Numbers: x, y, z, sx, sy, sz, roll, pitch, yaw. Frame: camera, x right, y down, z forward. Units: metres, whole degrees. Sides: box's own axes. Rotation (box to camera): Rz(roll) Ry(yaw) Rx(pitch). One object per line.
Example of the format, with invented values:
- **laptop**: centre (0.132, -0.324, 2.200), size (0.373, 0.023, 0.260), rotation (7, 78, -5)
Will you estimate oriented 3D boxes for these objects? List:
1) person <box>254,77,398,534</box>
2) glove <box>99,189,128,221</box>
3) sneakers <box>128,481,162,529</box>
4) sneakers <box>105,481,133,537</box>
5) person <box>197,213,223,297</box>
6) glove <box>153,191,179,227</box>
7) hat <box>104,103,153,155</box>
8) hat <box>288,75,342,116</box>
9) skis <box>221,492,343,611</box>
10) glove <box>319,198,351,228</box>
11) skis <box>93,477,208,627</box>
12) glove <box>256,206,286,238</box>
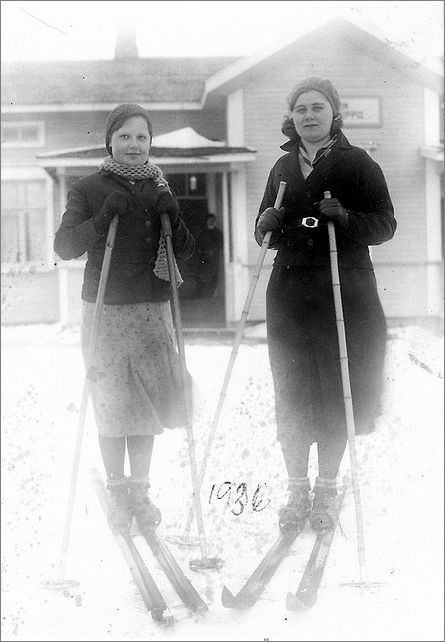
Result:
- **person**: centre (0.369, -0.063, 3.688), size (0.549, 1.705, 0.379), rotation (3, 4, 6)
- **glove**: centre (-0.395, -0.424, 3.506), size (0.046, 0.089, 0.118), rotation (18, 48, 40)
- **sneakers**: centre (-0.310, 0.712, 3.672), size (0.080, 0.233, 0.162), rotation (3, 50, -11)
- **sneakers**: centre (-0.391, 0.712, 3.655), size (0.078, 0.226, 0.154), rotation (-5, 34, -2)
- **person**: centre (-0.174, -0.842, 12.322), size (0.301, 1.119, 0.595), rotation (2, 4, -1)
- **glove**: centre (-0.216, -0.416, 3.621), size (0.069, 0.125, 0.054), rotation (-20, -15, 2)
- **hat**: centre (-0.351, -0.732, 3.617), size (0.128, 0.166, 0.166), rotation (-1, 33, -6)
- **hat**: centre (0.359, -0.868, 3.635), size (0.145, 0.160, 0.070), rotation (0, 20, 9)
- **skis**: centre (0.242, 0.809, 3.398), size (0.154, 0.064, 0.592), rotation (-4, 12, 21)
- **glove**: centre (0.407, -0.397, 3.506), size (0.108, 0.104, 0.064), rotation (2, 4, 4)
- **skis**: centre (-0.295, 0.814, 3.492), size (0.188, 0.060, 0.781), rotation (-1, 20, -22)
- **glove**: centre (0.180, -0.379, 3.693), size (0.106, 0.116, 0.189), rotation (2, 4, 2)
